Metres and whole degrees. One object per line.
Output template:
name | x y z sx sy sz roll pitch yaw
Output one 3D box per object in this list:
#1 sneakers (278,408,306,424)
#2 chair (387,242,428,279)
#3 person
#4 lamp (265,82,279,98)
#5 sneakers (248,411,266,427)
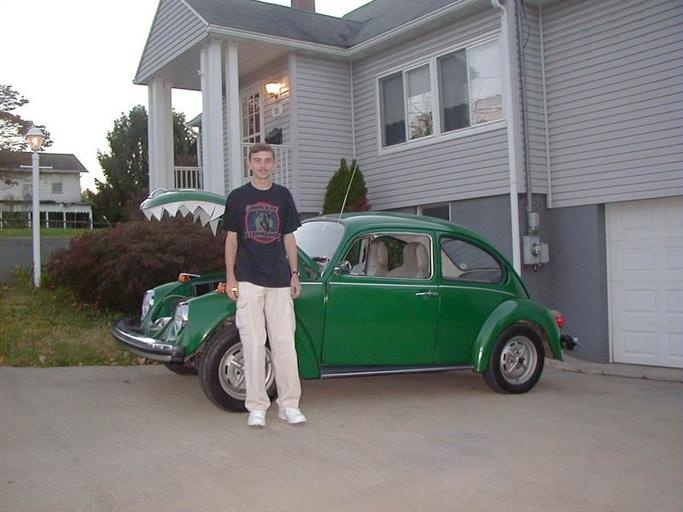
sneakers | -0.474 1.504 4.849 0.109 0.126 0.294 1 -7 -41
chair | 0.879 0.031 6.238 0.450 0.586 0.380 -4 5 -40
person | -0.721 0.261 4.763 0.750 2.065 0.348 1 0 -15
lamp | -1.850 -4.465 13.672 0.284 0.341 0.511 1 0 -28
sneakers | -0.770 1.482 4.657 0.155 0.115 0.138 1 0 -10
